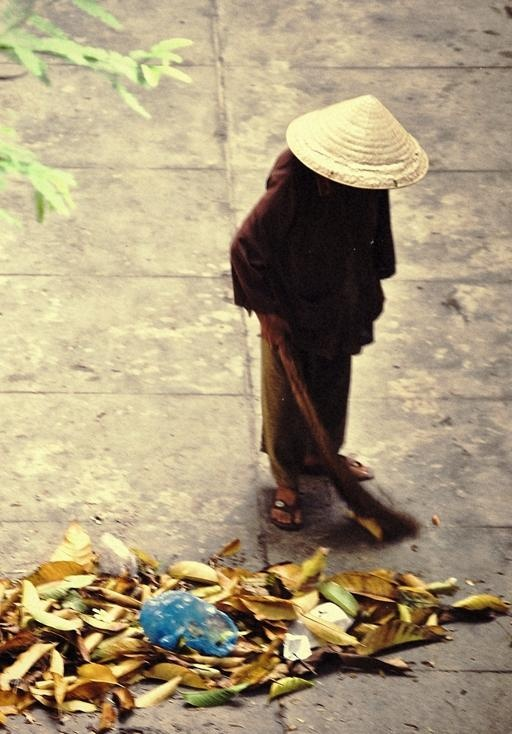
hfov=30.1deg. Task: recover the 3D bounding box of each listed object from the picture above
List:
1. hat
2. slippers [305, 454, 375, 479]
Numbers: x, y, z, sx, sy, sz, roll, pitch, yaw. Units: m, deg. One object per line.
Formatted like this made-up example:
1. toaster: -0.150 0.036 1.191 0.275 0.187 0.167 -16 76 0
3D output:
1. hat: 0.384 -0.863 3.735 0.498 0.185 0.474 32 47 13
2. slippers: 0.414 0.496 4.692 0.271 0.068 0.152 5 17 -34
